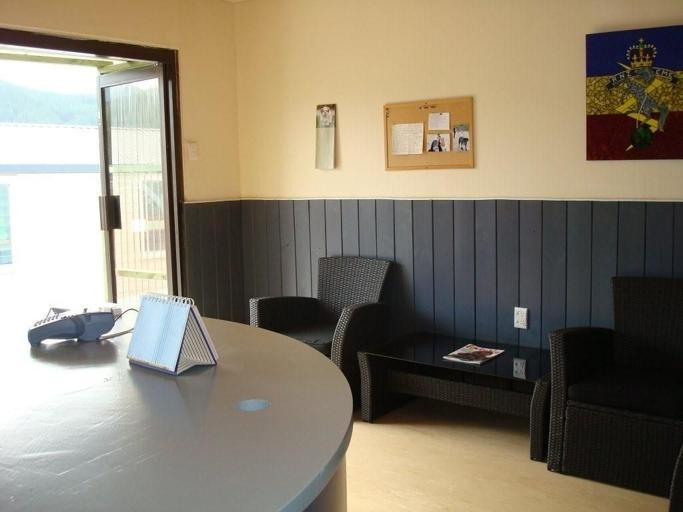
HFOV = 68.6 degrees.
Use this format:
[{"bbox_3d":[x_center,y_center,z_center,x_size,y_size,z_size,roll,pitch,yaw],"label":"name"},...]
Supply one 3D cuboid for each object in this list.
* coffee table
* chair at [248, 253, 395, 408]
[{"bbox_3d":[0.790,0.874,3.457,1.276,0.558,0.611,4,11,29],"label":"coffee table"},{"bbox_3d":[-0.033,0.517,4.230,0.990,1.445,1.175,1,1,31],"label":"chair"}]
